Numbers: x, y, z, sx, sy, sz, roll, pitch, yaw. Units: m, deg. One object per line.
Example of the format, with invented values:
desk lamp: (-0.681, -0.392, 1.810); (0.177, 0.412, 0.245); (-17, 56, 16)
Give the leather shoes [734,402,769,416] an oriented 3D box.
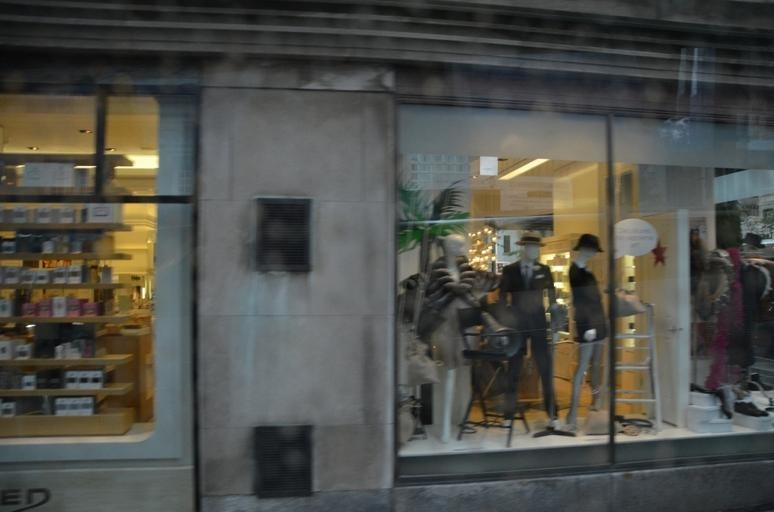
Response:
leather shoes: (4.874, 2.057, 12.320); (0.417, 0.183, 0.074); (-1, -3, 13)
